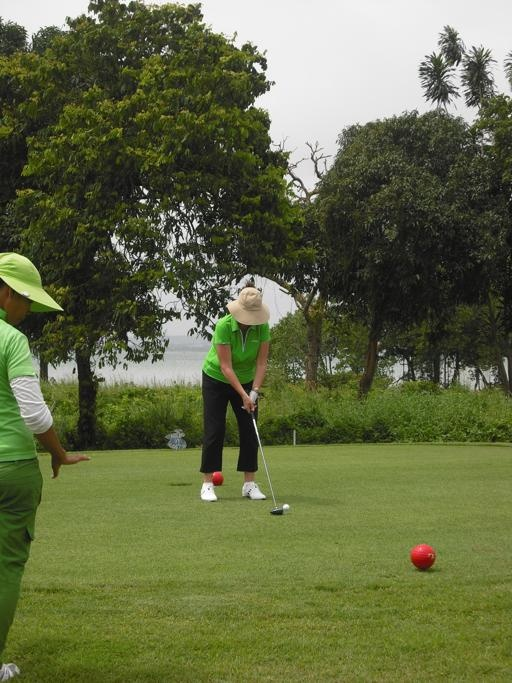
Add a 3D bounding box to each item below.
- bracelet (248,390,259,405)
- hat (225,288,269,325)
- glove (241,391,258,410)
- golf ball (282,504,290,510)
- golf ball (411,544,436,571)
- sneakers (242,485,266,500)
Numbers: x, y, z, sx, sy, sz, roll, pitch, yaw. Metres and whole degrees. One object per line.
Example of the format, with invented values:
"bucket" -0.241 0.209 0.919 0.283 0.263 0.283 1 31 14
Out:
"bracelet" -0.007 0.421 8.506 0.069 0.095 0.093 1 -4 -6
"hat" -0.053 -0.260 8.371 0.288 0.286 0.235 -1 0 -1
"glove" -0.035 0.463 8.429 0.088 0.154 0.070 1 23 -22
"golf ball" 0.212 1.143 7.756 0.040 0.051 0.053 6 2 6
"golf ball" 0.907 1.153 6.082 0.108 0.150 0.116 2 0 0
"sneakers" -0.016 1.153 8.655 0.074 0.101 0.203 1 -8 -29
